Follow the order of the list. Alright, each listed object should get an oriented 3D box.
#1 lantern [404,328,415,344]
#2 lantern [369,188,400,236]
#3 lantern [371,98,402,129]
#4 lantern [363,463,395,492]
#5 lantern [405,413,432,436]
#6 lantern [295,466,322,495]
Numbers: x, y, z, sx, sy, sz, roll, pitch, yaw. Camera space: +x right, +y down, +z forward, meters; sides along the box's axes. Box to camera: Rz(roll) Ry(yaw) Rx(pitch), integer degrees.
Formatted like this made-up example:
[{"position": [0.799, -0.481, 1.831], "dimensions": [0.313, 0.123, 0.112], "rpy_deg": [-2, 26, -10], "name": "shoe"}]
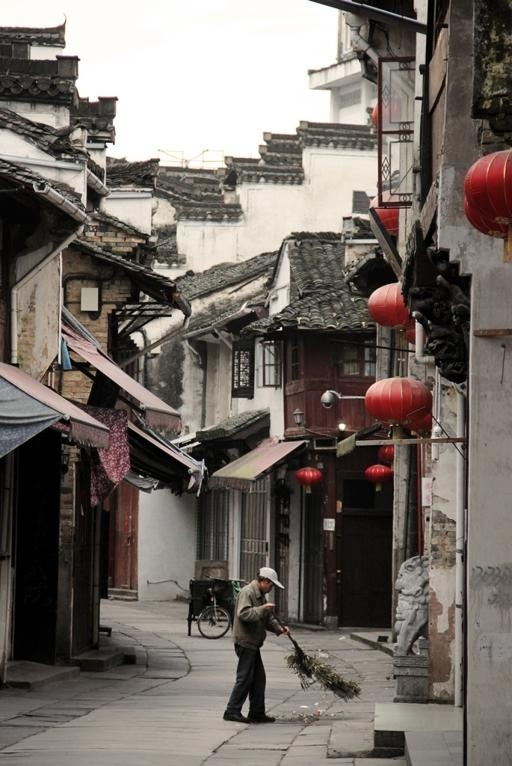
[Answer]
[{"position": [1.583, -0.509, 17.576], "dimensions": [0.114, 0.150, 0.124], "rpy_deg": [-10, -14, 4], "name": "lantern"}, {"position": [1.404, -1.910, 18.471], "dimensions": [0.264, 0.507, 0.857], "rpy_deg": [-1, -12, 3], "name": "lantern"}, {"position": [1.399, -2.860, 18.030], "dimensions": [0.232, 0.379, 0.140], "rpy_deg": [-4, -11, 19], "name": "lantern"}, {"position": [1.918, 1.462, 26.353], "dimensions": [0.351, 0.432, 0.387], "rpy_deg": [-1, -4, -6], "name": "lantern"}, {"position": [1.598, 0.394, 16.798], "dimensions": [0.173, 0.190, 0.136], "rpy_deg": [21, -31, -32], "name": "lantern"}, {"position": [0.859, 1.584, 27.861], "dimensions": [0.372, 0.466, 0.412], "rpy_deg": [0, -2, 2], "name": "lantern"}]
